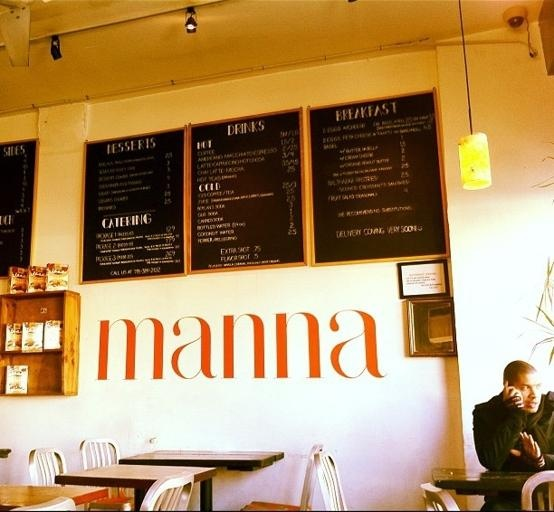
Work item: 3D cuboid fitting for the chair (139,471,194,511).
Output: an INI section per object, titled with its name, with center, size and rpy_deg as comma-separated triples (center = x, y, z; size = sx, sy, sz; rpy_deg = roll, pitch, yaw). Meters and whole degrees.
[chair]
center = -0.446, 1.002, 2.373
size = 0.192, 0.185, 0.424
rpy_deg = -3, -10, -8

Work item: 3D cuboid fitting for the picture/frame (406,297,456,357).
[picture/frame]
center = 1.032, 0.486, 3.752
size = 0.376, 0.461, 0.058
rpy_deg = -2, -10, 14
